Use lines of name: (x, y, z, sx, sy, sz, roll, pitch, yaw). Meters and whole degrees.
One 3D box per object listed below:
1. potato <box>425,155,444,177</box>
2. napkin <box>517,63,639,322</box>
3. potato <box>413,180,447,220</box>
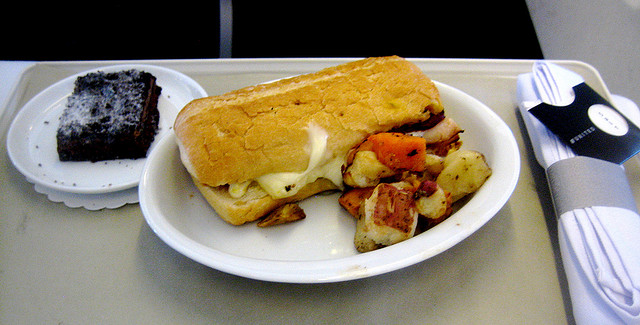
potato: (0.716, 0.026, 3.036, 0.147, 0.039, 0.117, 0, 93, -7)
napkin: (1.679, 0.218, 3.124, 0.460, 0.430, 1.533, -5, 61, -7)
potato: (0.666, 0.230, 3.003, 0.200, 0.082, 0.207, -17, 90, 0)
